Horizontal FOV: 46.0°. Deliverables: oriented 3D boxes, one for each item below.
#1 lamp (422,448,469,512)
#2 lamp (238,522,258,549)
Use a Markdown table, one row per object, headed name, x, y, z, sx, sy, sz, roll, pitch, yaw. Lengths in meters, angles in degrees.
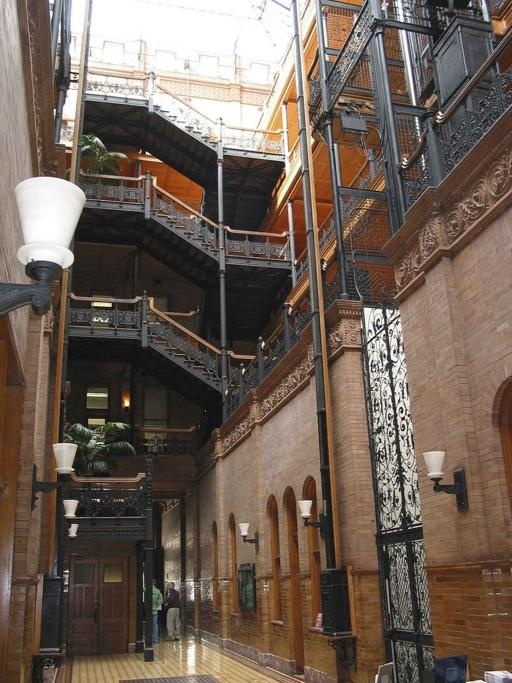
| name | x | y | z | sx | sy | sz | roll | pitch | yaw |
| --- | --- | --- | --- | --- | --- | --- | --- | --- | --- |
| lamp | 1.500 | 1.108 | 4.744 | 0.275 | 0.463 | 0.311 | -6 | -21 | 7 |
| lamp | -0.147 | 4.014 | 12.346 | 0.342 | 0.566 | 0.797 | -1 | -21 | -4 |
